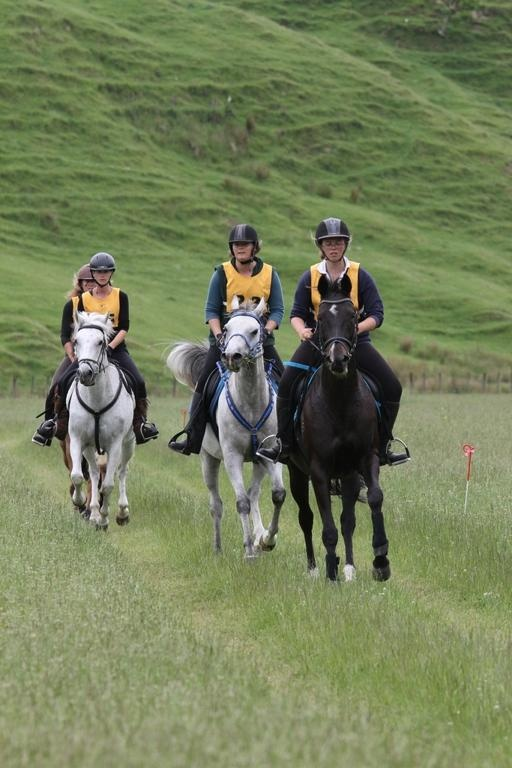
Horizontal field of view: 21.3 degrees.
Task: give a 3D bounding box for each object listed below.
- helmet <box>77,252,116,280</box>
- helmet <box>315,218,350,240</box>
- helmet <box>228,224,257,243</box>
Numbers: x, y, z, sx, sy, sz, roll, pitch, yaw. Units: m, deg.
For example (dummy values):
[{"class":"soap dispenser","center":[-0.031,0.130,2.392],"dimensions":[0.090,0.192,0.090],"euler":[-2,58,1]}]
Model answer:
[{"class":"helmet","center":[-2.062,-1.611,17.985],"dimensions":[0.352,0.227,0.548],"euler":[0,-6,-7]},{"class":"helmet","center":[0.763,-1.505,13.389],"dimensions":[0.340,0.233,0.388],"euler":[2,4,3]},{"class":"helmet","center":[-0.131,-1.657,15.119],"dimensions":[0.313,0.218,0.317],"euler":[1,4,-2]}]
